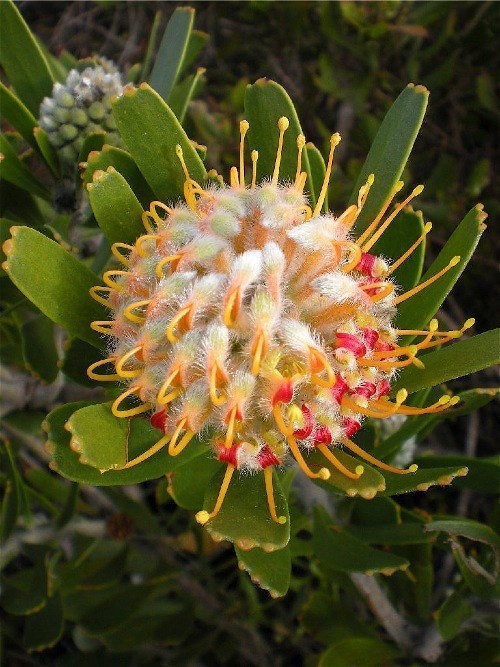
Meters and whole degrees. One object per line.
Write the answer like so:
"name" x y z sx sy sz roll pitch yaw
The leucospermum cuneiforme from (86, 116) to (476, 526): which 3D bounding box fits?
"leucospermum cuneiforme" 0.023 -0.014 0.944 0.529 0.278 0.488 -5 89 -2
